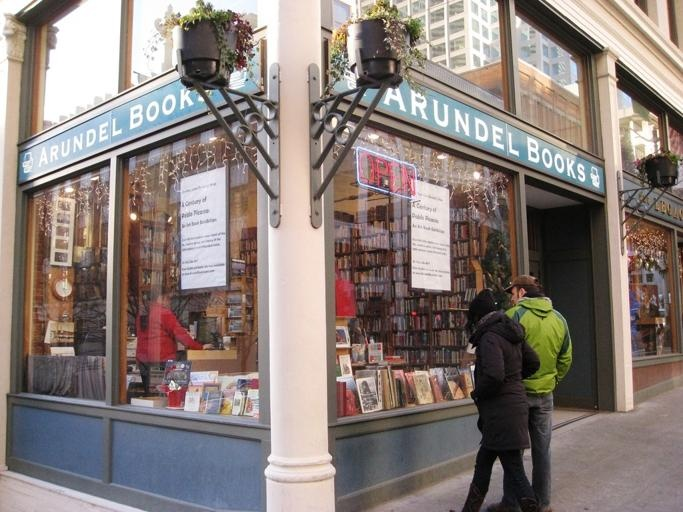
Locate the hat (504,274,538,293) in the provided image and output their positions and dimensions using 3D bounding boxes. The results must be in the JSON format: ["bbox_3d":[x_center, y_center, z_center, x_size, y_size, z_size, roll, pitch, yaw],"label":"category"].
[{"bbox_3d":[1.767,0.258,6.004,0.290,0.169,0.186,2,-1,38],"label":"hat"}]

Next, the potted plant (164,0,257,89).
[{"bbox_3d":[-1.185,-1.811,5.376,0.670,0.733,0.768,2,7,31],"label":"potted plant"}]

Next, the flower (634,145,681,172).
[{"bbox_3d":[5.373,-1.557,10.337,0.463,0.314,0.466,-3,-5,25],"label":"flower"}]

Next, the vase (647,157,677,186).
[{"bbox_3d":[5.450,-1.378,10.393,0.415,0.421,0.486,-1,-11,14],"label":"vase"}]
